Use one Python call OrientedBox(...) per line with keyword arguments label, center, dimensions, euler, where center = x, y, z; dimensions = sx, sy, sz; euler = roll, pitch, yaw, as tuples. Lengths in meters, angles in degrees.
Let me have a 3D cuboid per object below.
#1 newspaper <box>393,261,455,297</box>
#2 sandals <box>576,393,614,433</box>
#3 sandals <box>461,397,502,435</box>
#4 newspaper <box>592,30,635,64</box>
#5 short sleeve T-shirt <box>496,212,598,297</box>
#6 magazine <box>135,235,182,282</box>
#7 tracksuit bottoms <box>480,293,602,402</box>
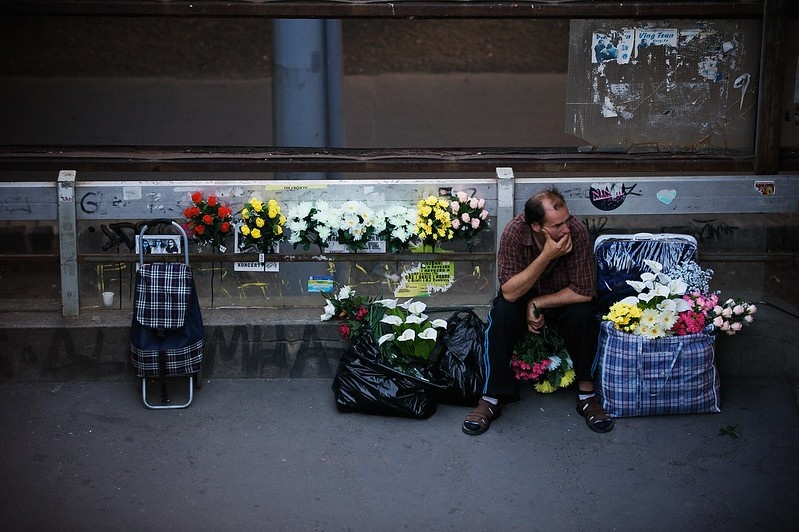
OrientedBox(label="newspaper", center=(0.226, 0.111, 6.411), dimensions=(0.635, 0.290, 0.362), euler=(0, 14, -6))
OrientedBox(label="sandals", center=(1.490, 1.123, 5.603), dimensions=(0.145, 0.141, 0.362), euler=(-25, 38, -10))
OrientedBox(label="sandals", center=(1.515, 1.112, 5.634), dimensions=(0.207, 0.190, 0.488), euler=(-10, 19, -8))
OrientedBox(label="newspaper", center=(2.008, -2.090, 6.772), dimensions=(0.321, 0.242, 0.015), euler=(0, 2, 0))
OrientedBox(label="short sleeve T-shirt", center=(1.157, -0.075, 5.671), dimensions=(0.675, 0.681, 0.473), euler=(7, 35, 1))
OrientedBox(label="magazine", center=(-2.077, -0.098, 6.249), dimensions=(0.370, 0.356, 0.302), euler=(-1, 16, -8))
OrientedBox(label="tracksuit bottoms", center=(1.097, 0.636, 5.645), dimensions=(0.916, 0.859, 0.398), euler=(-2, 10, 3))
